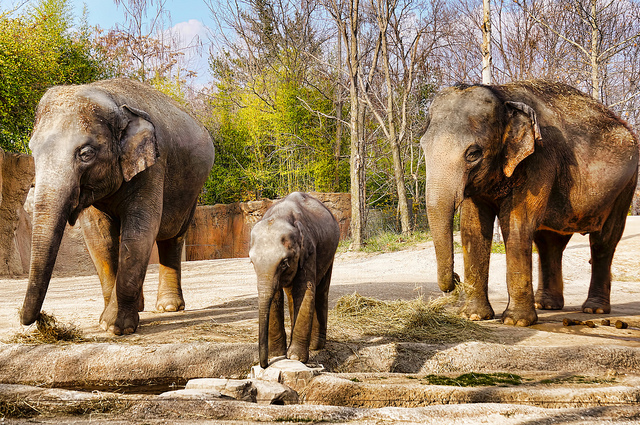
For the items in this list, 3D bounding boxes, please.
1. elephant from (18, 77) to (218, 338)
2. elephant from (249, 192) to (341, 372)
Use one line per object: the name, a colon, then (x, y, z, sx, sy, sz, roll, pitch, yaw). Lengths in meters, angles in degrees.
elephant: (-2.885, -0.152, 11.104, 1.938, 3.641, 4.273, 0, 3, 14)
elephant: (-0.360, 0.786, 9.652, 0.917, 2.006, 2.308, 0, 3, 18)
